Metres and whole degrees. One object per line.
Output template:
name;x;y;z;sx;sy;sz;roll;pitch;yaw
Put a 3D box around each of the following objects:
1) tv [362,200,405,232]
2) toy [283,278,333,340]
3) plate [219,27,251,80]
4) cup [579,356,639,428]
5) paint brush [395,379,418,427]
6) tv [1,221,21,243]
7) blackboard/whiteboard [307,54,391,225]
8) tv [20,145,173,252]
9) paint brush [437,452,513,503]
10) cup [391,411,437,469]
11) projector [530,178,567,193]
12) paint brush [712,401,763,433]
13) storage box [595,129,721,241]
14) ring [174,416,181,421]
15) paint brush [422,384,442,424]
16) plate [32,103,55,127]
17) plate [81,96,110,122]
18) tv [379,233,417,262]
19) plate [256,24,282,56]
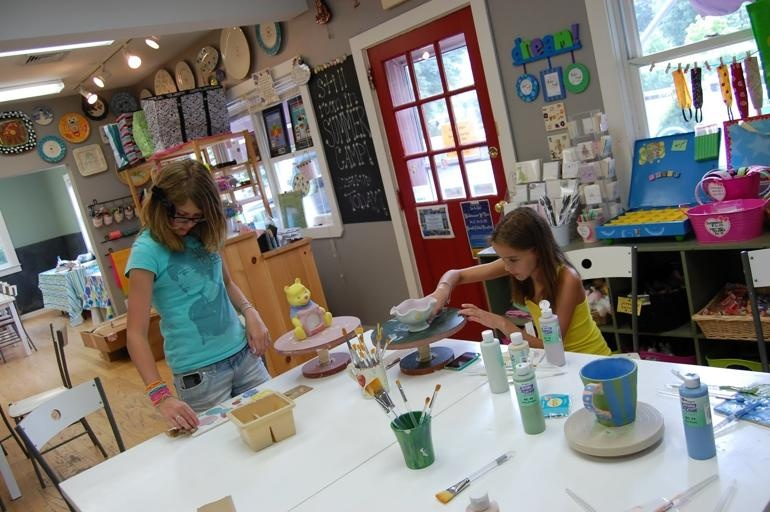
tv;-0.007;-0.346;4.178;0.220;0.318;0.308;-11;9;-41
toy;-0.366;0.254;2.335;0.184;0.298;0.206;-11;20;-32
plate;-1.555;-2.100;4.868;0.068;0.471;0.465;-17;55;-40
cup;0.677;0.416;1.408;0.148;0.169;0.185;-14;5;-10
paint brush;0.081;0.542;1.706;0.019;0.165;0.026;-24;1;-43
tv;-7.282;-0.400;9.180;0.073;0.305;0.285;-18;4;27
blackboard/whiteboard;-0.338;-1.005;4.299;0.659;1.450;0.103;-2;11;44
tv;-3.272;-0.929;5.905;1.952;1.463;0.114;-7;14;-12
paint brush;0.277;0.665;1.418;0.277;0.047;0.050;-14;8;-24
cup;0.098;0.594;1.513;0.125;0.172;0.086;-11;8;-6
projector;1.063;-0.446;3.069;0.051;0.090;0.240;-15;9;-34
paint brush;1.052;0.475;1.416;0.204;0.039;0.055;-12;8;-14
storage box;1.578;-0.363;2.885;0.672;0.750;0.655;4;12;40
ring;-0.811;0.639;1.836;0.014;0.004;0.013;-1;53;2
paint brush;0.172;0.541;1.691;0.037;0.186;0.022;18;17;-6
plate;-4.467;-1.854;6.123;0.069;0.301;0.298;10;8;43
plate;-3.894;-1.980;6.289;0.341;0.346;0.034;-20;19;-29
tv;0.150;-0.057;4.117;0.049;0.210;0.190;-10;-12;-41
plate;-1.088;-2.086;4.535;0.302;0.311;0.043;31;32;31
